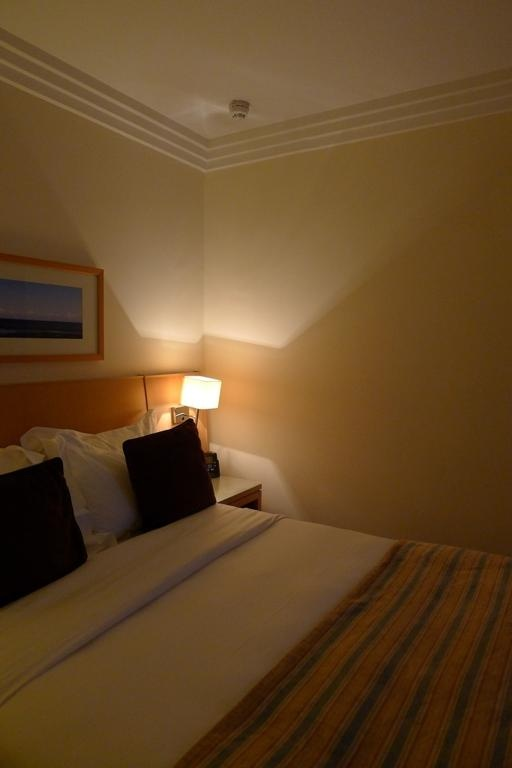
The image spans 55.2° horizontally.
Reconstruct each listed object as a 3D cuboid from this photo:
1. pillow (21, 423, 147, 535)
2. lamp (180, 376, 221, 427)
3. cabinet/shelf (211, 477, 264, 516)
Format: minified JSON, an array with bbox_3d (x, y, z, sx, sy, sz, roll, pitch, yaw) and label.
[{"bbox_3d":[-0.644,0.368,1.936,0.130,0.469,0.389,-18,-6,38],"label":"pillow"},{"bbox_3d":[-0.370,0.057,3.039,0.260,0.184,0.187,0,1,8],"label":"lamp"},{"bbox_3d":[-0.131,0.670,3.018,0.242,0.186,0.239,7,11,44],"label":"cabinet/shelf"}]
